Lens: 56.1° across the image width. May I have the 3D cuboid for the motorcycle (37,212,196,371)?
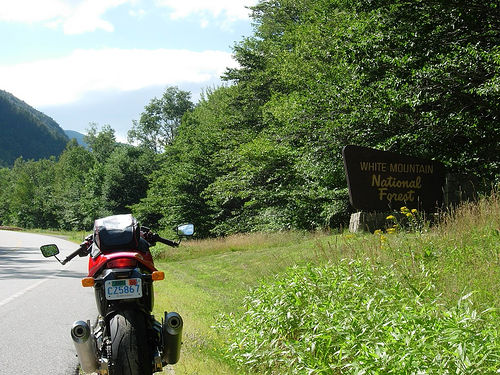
[{"bbox_3d":[-1.476,1.131,5.541,1.306,1.373,2.160,-6,-4,-6],"label":"motorcycle"}]
